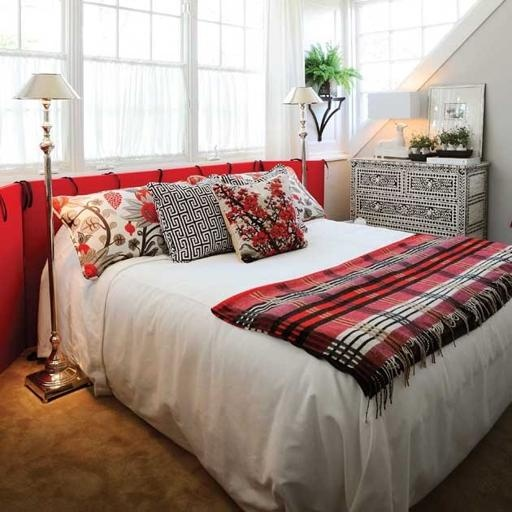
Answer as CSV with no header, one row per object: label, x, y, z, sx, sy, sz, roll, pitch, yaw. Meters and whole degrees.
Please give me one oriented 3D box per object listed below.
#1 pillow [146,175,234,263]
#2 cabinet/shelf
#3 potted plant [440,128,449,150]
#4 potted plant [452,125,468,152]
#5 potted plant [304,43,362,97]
pillow,-0.349,-0.192,2.198,0.428,0.405,0.129,-11,-11,-43
cabinet/shelf,1.424,-0.492,3.579,0.685,0.667,0.269,16,20,42
potted plant,1.641,-1.018,3.724,0.089,0.188,0.201,3,12,21
potted plant,1.758,-1.006,3.638,0.111,0.209,0.174,5,13,29
potted plant,0.696,-1.757,4.239,0.557,0.413,0.563,-11,39,-19
